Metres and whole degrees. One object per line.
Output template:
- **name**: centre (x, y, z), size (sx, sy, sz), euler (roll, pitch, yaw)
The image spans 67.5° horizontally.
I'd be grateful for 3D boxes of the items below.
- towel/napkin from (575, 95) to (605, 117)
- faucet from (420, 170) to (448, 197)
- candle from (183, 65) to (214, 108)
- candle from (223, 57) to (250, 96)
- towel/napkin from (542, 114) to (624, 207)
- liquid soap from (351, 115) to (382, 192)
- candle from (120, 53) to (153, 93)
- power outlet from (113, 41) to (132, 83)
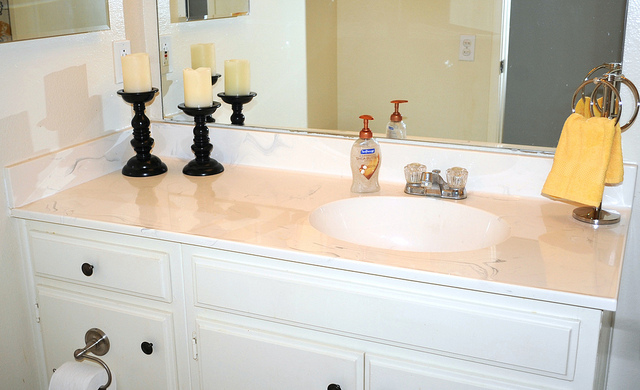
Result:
- **towel/napkin**: centre (0.941, -0.306, 1.674), size (0.086, 0.068, 0.127), euler (10, 18, 26)
- **faucet**: centre (0.451, -0.046, 1.885), size (0.107, 0.101, 0.070), euler (8, 14, 6)
- **candle**: centre (-0.513, -0.461, 2.026), size (0.159, 0.170, 0.155), euler (-1, 8, -5)
- **candle**: centre (-0.361, -0.518, 2.098), size (0.147, 0.160, 0.143), euler (-1, 8, -3)
- **towel/napkin**: centre (0.876, -0.115, 1.593), size (0.253, 0.300, 0.122), euler (15, -4, 35)
- **liquid soap**: centre (0.184, -0.161, 1.887), size (0.121, 0.291, 0.103), euler (3, 17, 5)
- **candle**: centre (-0.775, -0.518, 2.021), size (0.110, 0.159, 0.149), euler (-5, 18, -21)
- **power outlet**: centre (-0.848, -0.590, 2.088), size (0.089, 0.157, 0.017), euler (0, 4, 24)
